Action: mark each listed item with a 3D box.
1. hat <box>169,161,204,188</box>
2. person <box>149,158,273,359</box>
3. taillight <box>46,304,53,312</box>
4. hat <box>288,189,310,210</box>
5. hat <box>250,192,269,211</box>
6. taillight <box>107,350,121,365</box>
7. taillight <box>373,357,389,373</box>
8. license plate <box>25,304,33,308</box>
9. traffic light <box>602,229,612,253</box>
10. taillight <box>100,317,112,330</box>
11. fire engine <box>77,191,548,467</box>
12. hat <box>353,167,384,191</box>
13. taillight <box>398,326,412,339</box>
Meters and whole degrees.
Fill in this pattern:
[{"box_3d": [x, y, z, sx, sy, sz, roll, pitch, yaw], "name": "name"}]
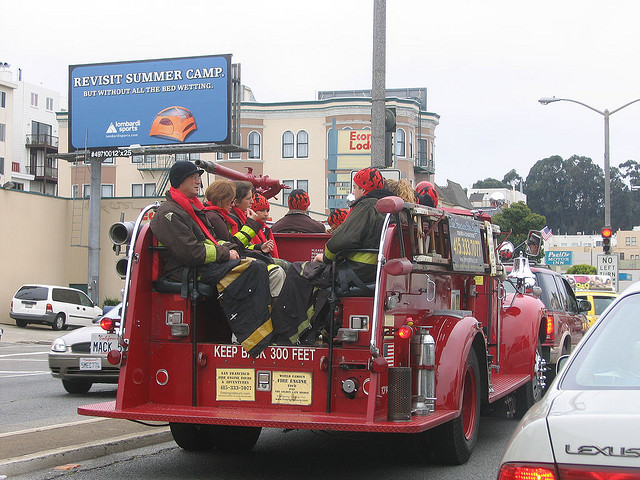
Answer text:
[{"box_3d": [-1.419, -0.701, 8.608, 0.328, 0.287, 0.244, -9, -6, -27], "name": "hat"}, {"box_3d": [-1.057, 0.167, 8.257, 1.298, 1.949, 0.594, 2, 4, 28], "name": "person"}, {"box_3d": [-10.233, 2.601, 31.024, 0.223, 0.259, 0.228, 3, 3, 2], "name": "taillight"}, {"box_3d": [-0.309, -0.569, 11.813, 0.227, 0.330, 0.311, 1, 5, 9], "name": "hat"}, {"box_3d": [-0.752, -0.469, 10.230, 0.176, 0.201, 0.249, -3, 7, -15], "name": "hat"}, {"box_3d": [-2.028, 1.159, 8.024, 0.118, 0.163, 0.199, -2, 5, -33], "name": "taillight"}, {"box_3d": [0.532, 1.129, 7.332, 0.129, 0.142, 0.092, -1, 4, -14], "name": "taillight"}, {"box_3d": [-11.078, 2.531, 31.252, 0.365, 0.136, 0.060, 2, 4, 26], "name": "license plate"}, {"box_3d": [10.321, 0.015, 29.674, 0.260, 0.815, 0.674, 1, 4, 19], "name": "traffic light"}, {"box_3d": [-2.622, 1.030, 10.120, 0.160, 0.166, 0.038, -35, -31, 24], "name": "taillight"}, {"box_3d": [0.614, 0.998, 10.271, 3.992, 2.855, 6.445, -2, -3, 24], "name": "fire engine"}, {"box_3d": [0.539, -0.668, 8.889, 0.284, 0.183, 0.216, 6, 32, -41], "name": "hat"}, {"box_3d": [0.814, 0.892, 7.856, 0.105, 0.141, 0.227, 1, 4, 20], "name": "taillight"}]
